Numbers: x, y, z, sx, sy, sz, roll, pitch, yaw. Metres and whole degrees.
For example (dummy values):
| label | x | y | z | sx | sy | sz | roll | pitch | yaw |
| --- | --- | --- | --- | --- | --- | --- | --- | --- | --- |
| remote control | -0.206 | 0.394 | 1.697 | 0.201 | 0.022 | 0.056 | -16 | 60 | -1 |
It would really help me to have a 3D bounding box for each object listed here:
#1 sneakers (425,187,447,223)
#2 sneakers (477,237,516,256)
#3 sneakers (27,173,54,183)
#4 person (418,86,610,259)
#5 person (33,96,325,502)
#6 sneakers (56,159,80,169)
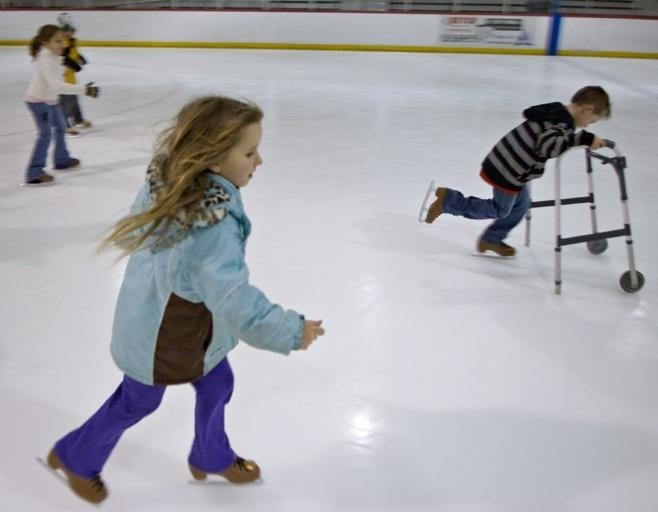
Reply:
| label | x | y | z | sx | sy | sz | roll | pitch | yaw |
| --- | --- | --- | --- | --- | --- | --- | --- | --- | --- |
| sneakers | 0.733 | -0.343 | 3.600 | 0.128 | 0.277 | 0.100 | 16 | 46 | 9 |
| sneakers | 1.122 | -0.070 | 3.518 | 0.306 | 0.118 | 0.099 | 4 | 20 | 18 |
| sneakers | -2.587 | -0.704 | 4.643 | 0.231 | 0.087 | 0.079 | -6 | 13 | -11 |
| person | 1.162 | -0.512 | 3.282 | 0.919 | 1.131 | 0.362 | 13 | 23 | 19 |
| person | -0.422 | 0.243 | 1.606 | 0.835 | 1.431 | 0.376 | 13 | 23 | 19 |
| sneakers | -2.506 | -0.879 | 4.950 | 0.100 | 0.057 | 0.173 | 1 | 7 | 23 |
